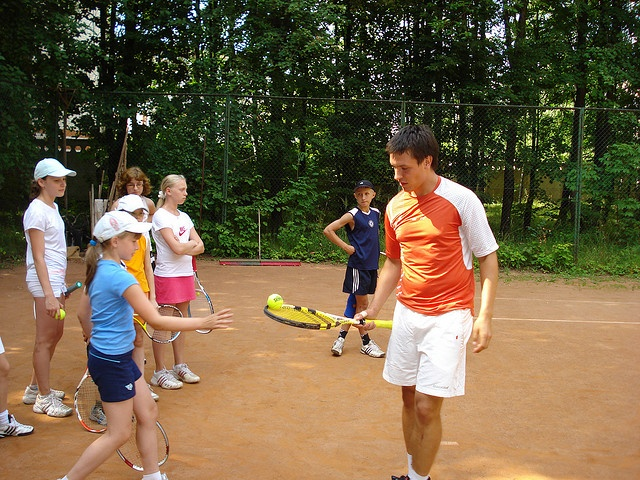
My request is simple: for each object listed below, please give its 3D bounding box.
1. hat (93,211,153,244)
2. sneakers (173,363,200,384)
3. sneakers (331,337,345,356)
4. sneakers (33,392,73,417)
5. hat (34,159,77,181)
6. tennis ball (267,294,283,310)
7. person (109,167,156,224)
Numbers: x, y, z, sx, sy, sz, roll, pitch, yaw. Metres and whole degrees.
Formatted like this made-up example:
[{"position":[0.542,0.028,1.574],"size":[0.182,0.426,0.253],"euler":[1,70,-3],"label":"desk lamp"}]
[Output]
[{"position":[-1.733,-0.105,4.922],"size":[0.531,0.254,0.363],"euler":[-10,-9,-14],"label":"hat"},{"position":[-1.651,1.635,6.949],"size":[0.395,0.187,0.160],"euler":[13,11,32],"label":"sneakers"},{"position":[0.253,1.506,7.948],"size":[0.154,0.133,0.251],"euler":[7,51,22],"label":"sneakers"},{"position":[-2.857,1.775,6.114],"size":[0.397,0.198,0.209],"euler":[9,4,9],"label":"sneakers"},{"position":[-2.823,-0.733,5.938],"size":[0.404,0.220,0.266],"euler":[-3,8,0],"label":"hat"},{"position":[-0.496,0.634,5.950],"size":[0.155,0.160,0.162],"euler":[-2,-30,-1],"label":"tennis ball"},{"position":[-2.280,-0.504,6.909],"size":[0.536,0.795,0.476],"euler":[-6,11,-37],"label":"person"}]
